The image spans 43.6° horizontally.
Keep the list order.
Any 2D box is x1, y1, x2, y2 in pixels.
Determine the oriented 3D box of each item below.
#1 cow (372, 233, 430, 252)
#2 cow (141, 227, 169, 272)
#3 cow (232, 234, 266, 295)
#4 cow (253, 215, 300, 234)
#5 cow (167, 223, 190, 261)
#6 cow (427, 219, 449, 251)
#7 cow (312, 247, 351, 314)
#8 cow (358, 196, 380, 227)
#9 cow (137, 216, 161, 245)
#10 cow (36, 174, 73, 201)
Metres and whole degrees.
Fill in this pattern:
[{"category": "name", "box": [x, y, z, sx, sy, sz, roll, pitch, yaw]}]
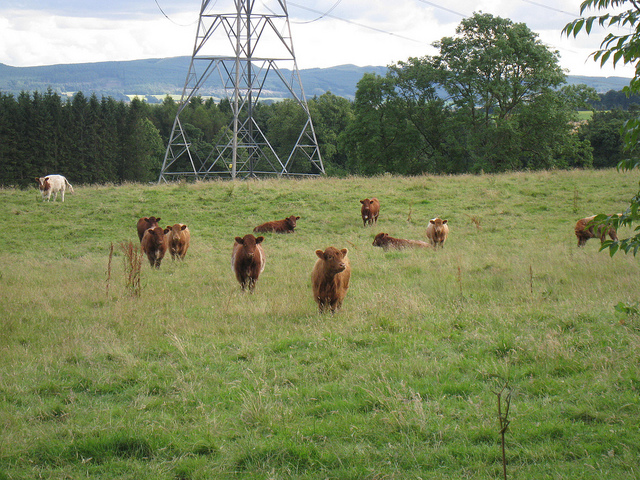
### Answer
[{"category": "cow", "box": [2.859, 0.063, 29.298, 1.845, 0.459, 0.814, -1, 15, 3]}, {"category": "cow", "box": [-5.630, 0.248, 27.248, 0.858, 1.336, 1.361, -4, 14, -11]}, {"category": "cow", "box": [-2.194, 0.639, 24.516, 0.964, 1.735, 1.461, -3, 14, -6]}, {"category": "cow", "box": [-1.729, -0.495, 32.180, 1.708, 0.769, 0.744, -6, 20, -4]}, {"category": "cow", "box": [-4.991, 0.066, 28.169, 0.803, 1.276, 0.660, -8, 15, -27]}, {"category": "cow", "box": [4.364, -0.275, 29.723, 0.701, 1.080, 0.976, 1, 14, 8]}, {"category": "cow", "box": [0.290, 1.113, 22.326, 0.989, 1.786, 1.096, -2, 13, -1]}, {"category": "cow", "box": [1.985, -1.118, 33.347, 0.622, 1.216, 2.129, 0, 2, 6]}, {"category": "cow", "box": [-6.182, -0.480, 29.006, 0.483, 0.957, 1.683, -1, 0, -15]}, {"category": "cow", "box": [-12.166, -2.365, 36.658, 1.251, 1.198, 2.936, -5, 15, -15]}]
